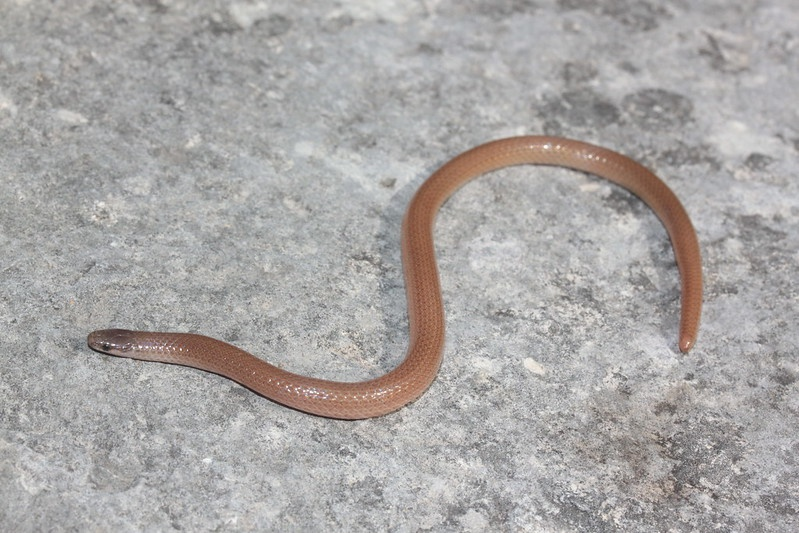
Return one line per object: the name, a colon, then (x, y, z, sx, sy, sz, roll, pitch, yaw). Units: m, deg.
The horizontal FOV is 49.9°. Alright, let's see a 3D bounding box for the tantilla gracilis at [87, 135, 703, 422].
tantilla gracilis: (0.211, 0.325, 5.587, 4.017, 0.214, 2.042, -25, 60, -15)
